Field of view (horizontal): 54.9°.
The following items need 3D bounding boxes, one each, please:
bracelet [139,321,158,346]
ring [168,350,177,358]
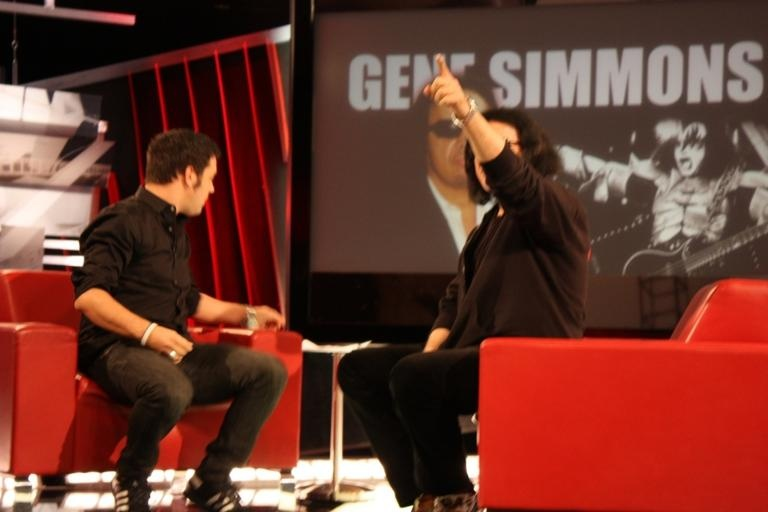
[{"bbox_3d":[-0.988,0.326,3.094,0.078,0.088,0.047,2,0,6],"label":"bracelet"},{"bbox_3d":[-0.883,0.408,3.100,0.027,0.022,0.029,2,4,0],"label":"ring"}]
